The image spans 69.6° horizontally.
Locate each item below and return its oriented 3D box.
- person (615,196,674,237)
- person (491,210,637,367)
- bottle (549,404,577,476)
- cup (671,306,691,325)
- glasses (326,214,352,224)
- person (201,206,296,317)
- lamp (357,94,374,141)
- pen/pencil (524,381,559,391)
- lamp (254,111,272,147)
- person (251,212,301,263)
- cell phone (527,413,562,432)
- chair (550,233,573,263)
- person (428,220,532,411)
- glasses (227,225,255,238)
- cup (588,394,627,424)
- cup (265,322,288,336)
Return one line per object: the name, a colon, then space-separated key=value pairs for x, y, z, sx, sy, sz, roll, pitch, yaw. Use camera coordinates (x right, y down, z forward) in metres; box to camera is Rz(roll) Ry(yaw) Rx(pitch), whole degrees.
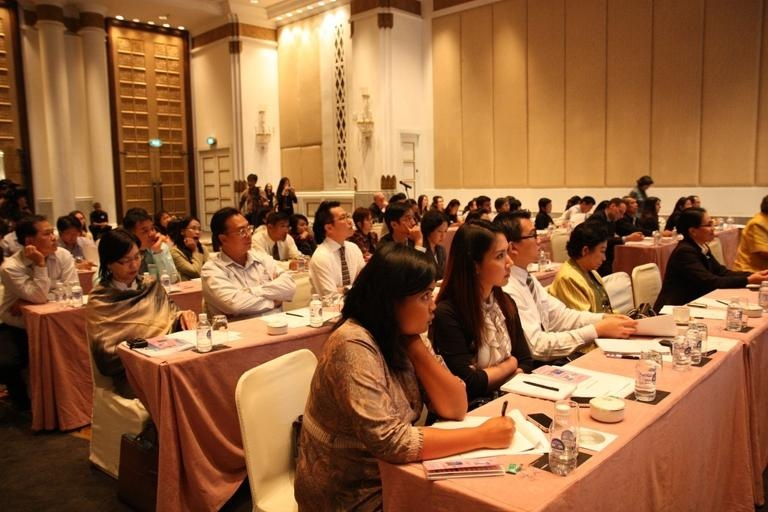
person: x=4.461 y=-0.657 z=9.254 sx=1.127 sy=0.565 sz=0.848 roll=-2 pitch=19 yaw=12
person: x=1.256 y=0.313 z=4.038 sx=0.912 sy=1.305 sz=0.933 roll=-1 pitch=16 yaw=24
bottle: x=0.775 y=0.773 z=2.375 sx=0.113 sy=0.251 sz=0.202 roll=0 pitch=10 yaw=21
cup: x=1.979 y=0.399 z=3.713 sx=0.105 sy=0.107 sz=0.140 roll=-2 pitch=1 yaw=-40
glasses: x=-0.382 y=-0.337 z=5.123 sx=0.128 sy=0.112 sz=0.277 roll=3 pitch=11 yaw=32
person: x=-1.134 y=0.052 z=4.553 sx=0.730 sy=0.901 sz=0.488 roll=-6 pitch=9 yaw=-20
lamp: x=-0.423 y=-3.183 z=12.720 sx=0.387 sy=1.089 sz=0.183 roll=3 pitch=10 yaw=32
pen/pencil: x=0.841 y=0.690 z=2.925 sx=0.151 sy=0.006 sz=0.023 roll=6 pitch=38 yaw=42
lamp: x=-3.217 y=-3.339 z=14.655 sx=0.428 sy=0.963 sz=0.181 roll=-6 pitch=9 yaw=-18
person: x=-1.283 y=-0.147 z=6.685 sx=0.730 sy=0.689 sz=0.610 roll=-3 pitch=-3 yaw=-15
cell phone: x=0.741 y=0.765 z=2.536 sx=0.099 sy=0.025 sz=0.104 roll=5 pitch=15 yaw=-9
chair: x=2.212 y=-0.098 z=6.864 sx=0.318 sy=0.438 sz=0.351 roll=2 pitch=13 yaw=9
person: x=0.562 y=0.622 z=3.455 sx=0.630 sy=1.641 sz=0.651 roll=0 pitch=10 yaw=1
glasses: x=-1.166 y=-0.195 z=4.485 sx=0.206 sy=0.088 sz=0.072 roll=-12 pitch=12 yaw=-42
cup: x=1.069 y=0.732 z=2.659 sx=0.156 sy=0.088 sz=0.154 roll=-3 pitch=9 yaw=1
cup: x=-0.758 y=0.505 z=3.907 sx=0.100 sy=0.059 sz=0.102 roll=1 pitch=8 yaw=0
